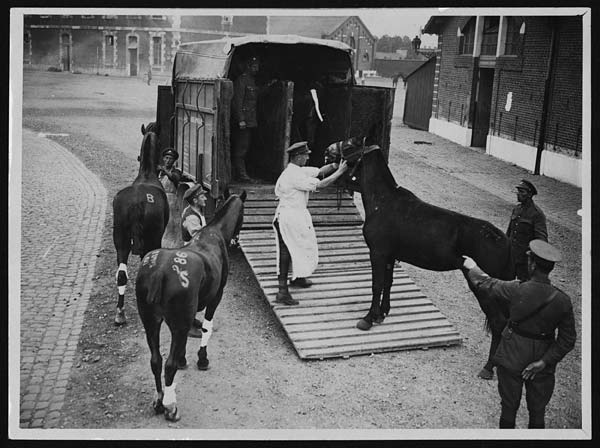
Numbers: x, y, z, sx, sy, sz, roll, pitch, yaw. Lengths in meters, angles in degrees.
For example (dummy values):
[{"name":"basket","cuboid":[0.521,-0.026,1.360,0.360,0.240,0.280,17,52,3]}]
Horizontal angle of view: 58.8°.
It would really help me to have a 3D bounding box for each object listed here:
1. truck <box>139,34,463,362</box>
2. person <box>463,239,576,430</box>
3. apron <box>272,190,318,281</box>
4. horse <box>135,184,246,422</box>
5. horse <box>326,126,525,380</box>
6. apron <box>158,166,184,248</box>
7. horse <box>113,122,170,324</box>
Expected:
[{"name":"truck","cuboid":[-0.288,-1.453,11.572,4.394,4.511,9.183,-3,20,-27]},{"name":"person","cuboid":[2.620,1.530,6.545,1.360,2.599,0.930,8,8,24]},{"name":"apron","cuboid":[-0.047,0.173,8.948,0.728,1.402,0.430,2,13,-3]},{"name":"horse","cuboid":[-1.501,1.219,7.097,0.673,2.213,1.734,6,14,12]},{"name":"horse","cuboid":[1.883,0.388,8.536,3.929,2.911,0.941,20,19,39]},{"name":"apron","cuboid":[-2.663,-0.310,11.054,0.618,1.805,0.571,-4,17,-14]},{"name":"horse","cuboid":[-2.975,-0.196,10.184,0.897,2.961,3.727,2,17,-12]}]
